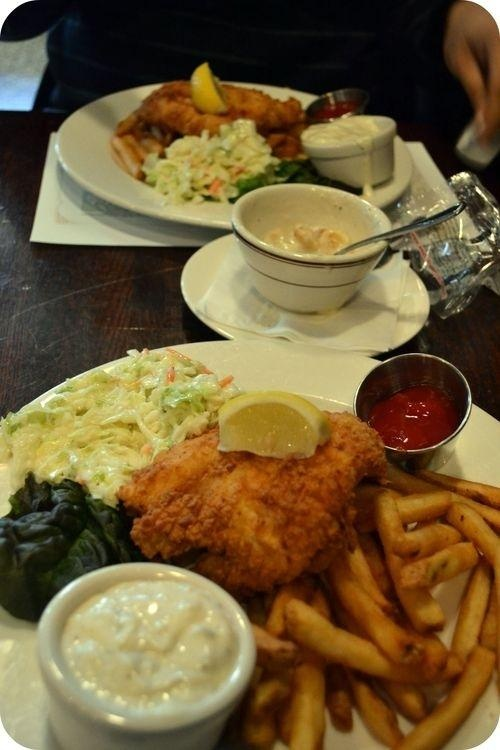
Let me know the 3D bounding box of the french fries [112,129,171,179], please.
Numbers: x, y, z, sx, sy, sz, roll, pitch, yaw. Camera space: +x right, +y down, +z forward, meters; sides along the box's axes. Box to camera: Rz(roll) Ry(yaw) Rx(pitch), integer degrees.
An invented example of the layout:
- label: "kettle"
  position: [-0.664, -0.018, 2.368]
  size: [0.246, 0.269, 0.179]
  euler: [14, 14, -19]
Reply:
- label: "french fries"
  position: [-0.706, -1.353, 3.726]
  size: [0.337, 0.098, 0.323]
  euler: [-17, 55, -14]

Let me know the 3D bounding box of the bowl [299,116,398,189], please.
- label: "bowl"
  position: [0.598, -1.255, 3.582]
  size: [0.477, 0.300, 0.462]
  euler: [-3, 52, 4]
